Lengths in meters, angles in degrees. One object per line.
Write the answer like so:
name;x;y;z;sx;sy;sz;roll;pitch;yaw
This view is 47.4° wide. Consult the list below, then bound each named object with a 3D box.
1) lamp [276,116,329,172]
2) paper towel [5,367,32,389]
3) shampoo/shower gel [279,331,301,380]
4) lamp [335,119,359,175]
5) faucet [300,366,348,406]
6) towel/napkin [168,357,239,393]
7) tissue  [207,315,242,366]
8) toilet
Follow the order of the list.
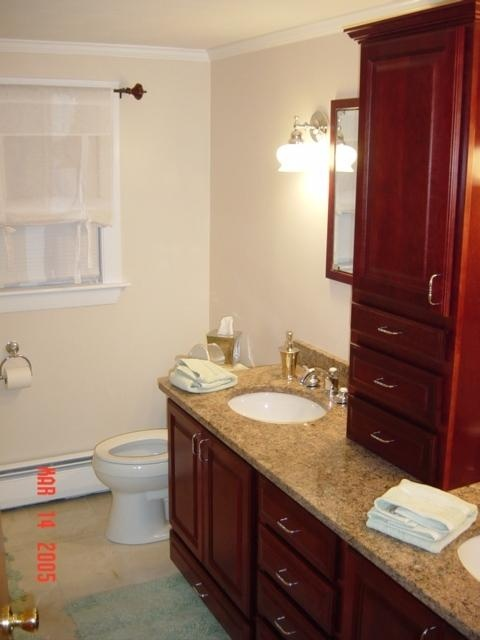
lamp;0.222;-0.708;2.186;0.193;0.237;0.293;-3;10;-16
paper towel;-1.056;0.271;2.636;0.119;0.092;0.103;-11;25;-29
shampoo/shower gel;0.206;0.149;2.237;0.090;0.216;0.093;19;32;33
lamp;0.371;-0.658;2.045;0.096;0.178;0.095;-16;31;-16
faucet;0.320;0.231;2.029;0.077;0.098;0.252;-8;22;-18
towel/napkin;-0.120;0.180;2.029;0.153;0.058;0.159;-8;20;-37
tissue ;-0.075;0.092;2.487;0.173;0.220;0.176;-4;-16;25
toilet;-0.462;0.792;2.607;0.452;0.391;0.367;-7;9;-43
